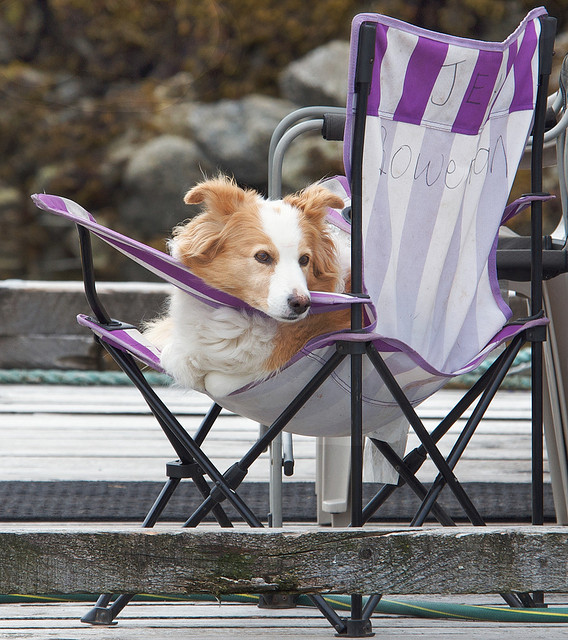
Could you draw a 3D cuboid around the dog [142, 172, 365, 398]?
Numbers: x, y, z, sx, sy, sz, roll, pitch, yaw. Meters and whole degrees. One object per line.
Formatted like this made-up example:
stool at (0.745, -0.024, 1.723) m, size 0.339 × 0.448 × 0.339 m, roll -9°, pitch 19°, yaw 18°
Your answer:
dog at (-0.071, -0.055, 3.676) m, size 0.532 × 0.459 × 0.534 m, roll 4°, pitch -6°, yaw -29°
